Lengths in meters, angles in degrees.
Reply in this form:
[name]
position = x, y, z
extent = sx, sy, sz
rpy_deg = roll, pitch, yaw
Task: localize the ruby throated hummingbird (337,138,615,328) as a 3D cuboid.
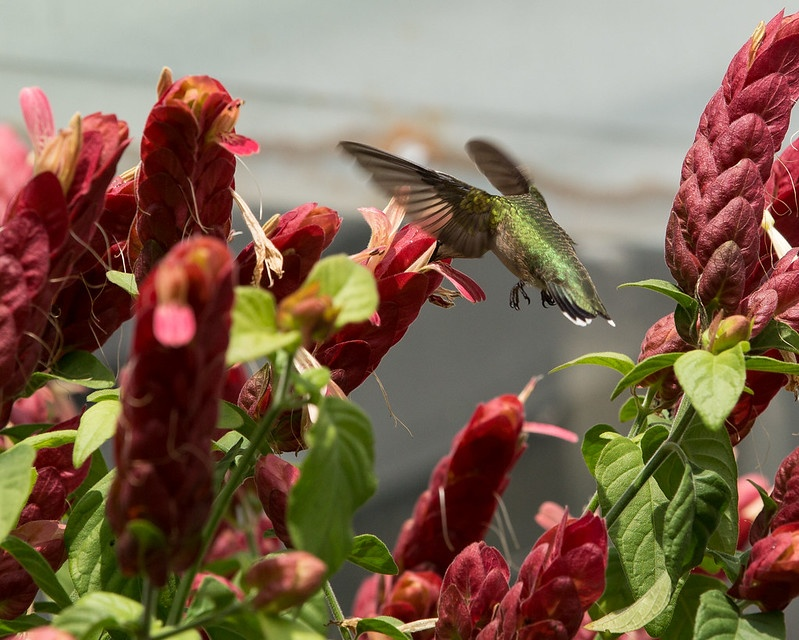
[ruby throated hummingbird]
position = 0.096, -0.047, 1.398
extent = 0.198, 0.181, 0.289
rpy_deg = -5, -10, 36
